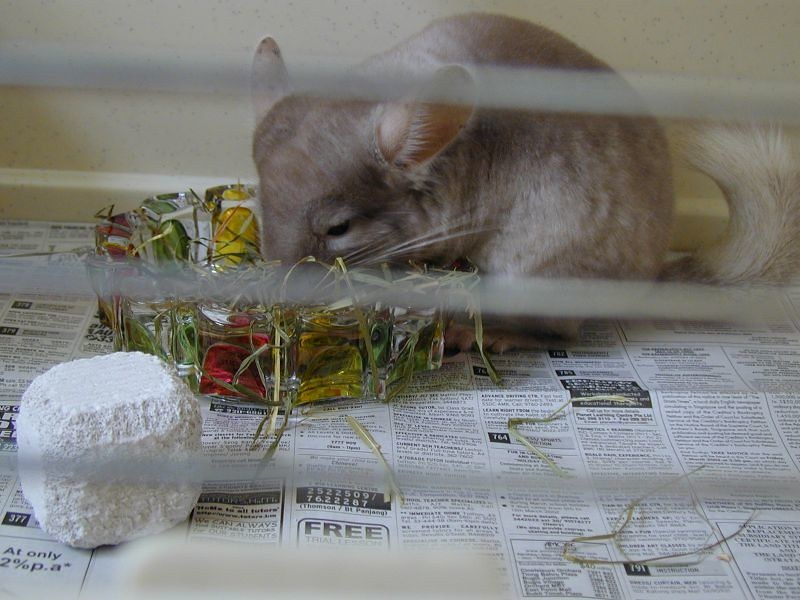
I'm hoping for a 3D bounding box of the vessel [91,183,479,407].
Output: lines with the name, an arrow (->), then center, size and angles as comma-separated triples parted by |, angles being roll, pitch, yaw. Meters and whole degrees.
vessel -> -0.173, 0.026, 0.982 | 0.321, 0.125, 0.337 | 9, 17, 2
